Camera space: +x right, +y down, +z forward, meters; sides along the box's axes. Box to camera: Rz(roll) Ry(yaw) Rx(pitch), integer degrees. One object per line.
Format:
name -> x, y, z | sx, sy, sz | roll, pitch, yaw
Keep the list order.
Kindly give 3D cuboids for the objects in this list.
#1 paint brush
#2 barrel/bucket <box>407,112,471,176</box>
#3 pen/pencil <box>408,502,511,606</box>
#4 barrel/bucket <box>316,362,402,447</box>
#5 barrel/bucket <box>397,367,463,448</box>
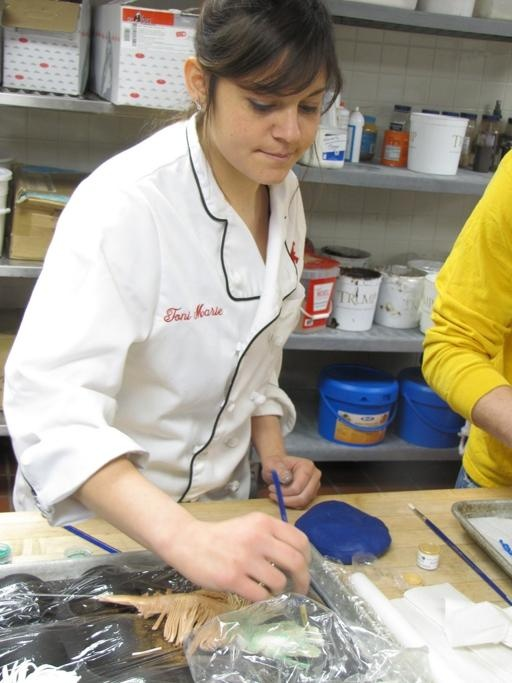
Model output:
paint brush -> 0.043, 0.265, 0.739 | 0.016, 0.124, 0.016 | -1, -24, -31
barrel/bucket -> 0.748, -0.822, 2.443 | 0.297, 0.244, 0.274 | 4, 21, -2
pen/pencil -> 0.325, 0.341, 0.913 | 0.012, 0.012, 0.257 | 40, 3, -23
barrel/bucket -> 0.426, 0.274, 2.692 | 0.386, 0.302, 0.351 | 5, 10, -9
barrel/bucket -> 0.781, 0.307, 2.726 | 0.338, 0.276, 0.321 | -1, 13, 0
